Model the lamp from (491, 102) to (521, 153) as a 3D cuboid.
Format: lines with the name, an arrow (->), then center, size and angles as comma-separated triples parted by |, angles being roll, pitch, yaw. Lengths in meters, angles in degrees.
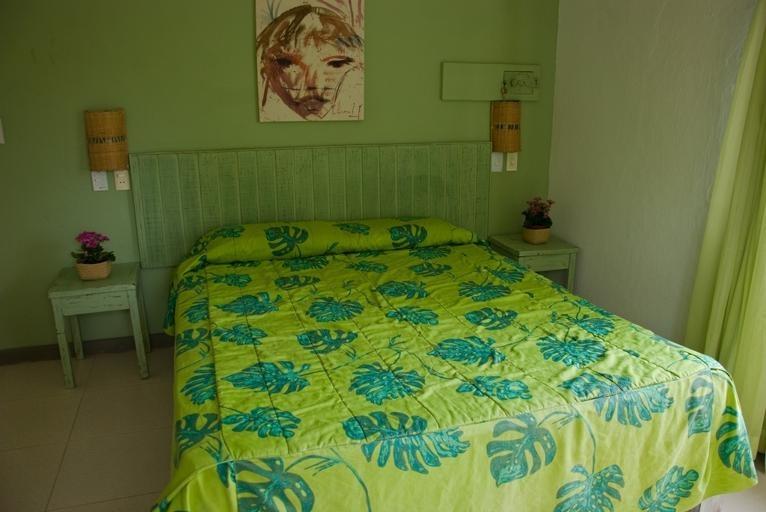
lamp -> 0.973, -1.018, 4.051 | 0.285, 0.398, 0.245 | -2, 6, -23

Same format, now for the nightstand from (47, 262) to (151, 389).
nightstand -> -1.919, 0.457, 3.418 | 0.578, 0.775, 0.546 | -4, 23, -8

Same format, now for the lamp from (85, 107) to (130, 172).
lamp -> -1.815, -0.764, 3.373 | 0.261, 0.383, 0.157 | -9, 21, -24

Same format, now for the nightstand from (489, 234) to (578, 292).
nightstand -> 1.208, 0.150, 4.085 | 0.590, 0.499, 0.527 | -3, 16, 6

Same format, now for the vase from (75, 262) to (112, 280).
vase -> -1.876, 0.089, 3.331 | 0.169, 0.079, 0.124 | 2, 8, 12

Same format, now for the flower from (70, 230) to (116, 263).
flower -> -1.936, -0.064, 3.404 | 0.259, 0.169, 0.242 | 9, 14, 34

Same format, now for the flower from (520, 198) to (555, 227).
flower -> 1.219, -0.317, 4.063 | 0.268, 0.258, 0.273 | 13, 20, 40

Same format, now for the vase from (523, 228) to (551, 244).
vase -> 1.200, -0.172, 3.942 | 0.149, 0.087, 0.143 | -6, 13, -24
